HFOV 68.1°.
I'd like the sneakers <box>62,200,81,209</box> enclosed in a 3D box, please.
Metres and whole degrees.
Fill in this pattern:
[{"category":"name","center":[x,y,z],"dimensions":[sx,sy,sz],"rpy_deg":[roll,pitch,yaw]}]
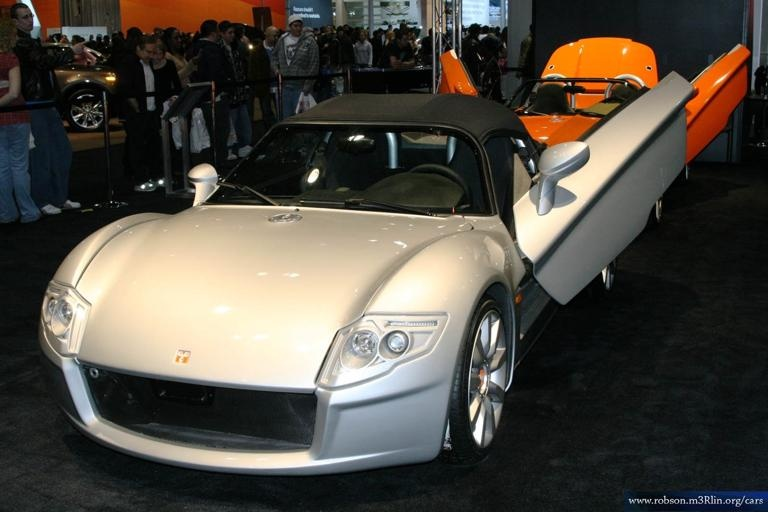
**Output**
[{"category":"sneakers","center":[-5.103,-0.831,9.209],"dimensions":[0.277,0.118,0.125],"rpy_deg":[-4,30,-9]}]

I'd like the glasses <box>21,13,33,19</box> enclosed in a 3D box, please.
[{"category":"glasses","center":[-5.453,-3.698,8.696],"dimensions":[0.080,0.071,0.384],"rpy_deg":[-9,23,-20]}]
